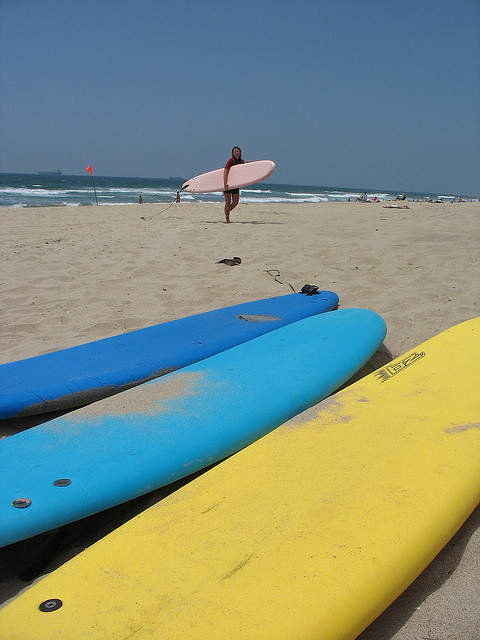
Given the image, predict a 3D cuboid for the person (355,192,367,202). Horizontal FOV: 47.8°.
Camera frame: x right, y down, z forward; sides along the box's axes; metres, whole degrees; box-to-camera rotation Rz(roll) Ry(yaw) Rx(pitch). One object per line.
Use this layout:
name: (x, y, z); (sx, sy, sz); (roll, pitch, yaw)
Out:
person: (6.591, -6.624, 29.551); (0.604, 0.589, 2.435); (2, 16, 20)

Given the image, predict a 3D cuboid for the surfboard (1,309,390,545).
surfboard: (0.037, 0.254, 2.231); (0.487, 0.225, 2.126); (11, 19, 38)

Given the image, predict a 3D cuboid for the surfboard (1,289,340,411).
surfboard: (-0.065, 0.018, 3.209); (0.581, 0.281, 2.690); (20, 20, 33)
